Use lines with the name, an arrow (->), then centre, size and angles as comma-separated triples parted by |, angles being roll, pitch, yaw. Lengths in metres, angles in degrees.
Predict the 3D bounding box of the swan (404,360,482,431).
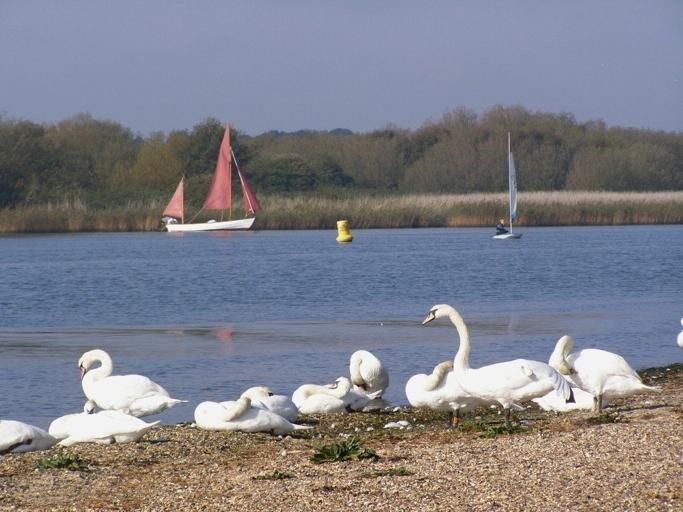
swan -> 2.930, 3.832, 45.471 | 2.225, 1.693, 1.344 | -13, 6, 2

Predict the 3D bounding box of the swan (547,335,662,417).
swan -> 7.146, 3.334, 44.176 | 2.939, 2.014, 1.126 | -1, -2, 8

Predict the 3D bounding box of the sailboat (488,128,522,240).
sailboat -> 9.822, -4.214, 96.472 | 3.006, 6.480, 1.662 | -7, -3, 38

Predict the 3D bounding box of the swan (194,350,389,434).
swan -> -1.330, 3.809, 45.393 | 5.545, 1.990, 1.948 | -3, 6, -43

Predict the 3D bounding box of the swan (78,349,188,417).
swan -> -5.702, 3.672, 45.737 | 3.162, 2.235, 1.574 | 5, -1, 20
